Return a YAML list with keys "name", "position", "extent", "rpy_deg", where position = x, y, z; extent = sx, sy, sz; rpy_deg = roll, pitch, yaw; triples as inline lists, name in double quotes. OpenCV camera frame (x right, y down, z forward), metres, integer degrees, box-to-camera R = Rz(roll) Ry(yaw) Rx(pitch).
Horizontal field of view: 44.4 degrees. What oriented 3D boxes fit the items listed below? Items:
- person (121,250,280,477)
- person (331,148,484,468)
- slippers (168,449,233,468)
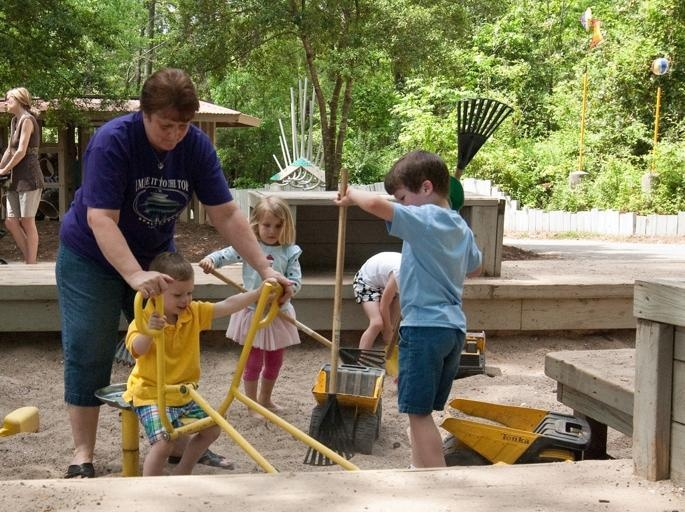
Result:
- name: "person"
  position: [-0.918, 0.663, 4.735]
  extent: [0.725, 1.354, 0.655]
  rpy_deg: [-4, 9, -33]
- name: "person"
  position: [0.389, 0.307, 4.744]
  extent: [0.620, 1.815, 0.650]
  rpy_deg: [2, 8, 10]
- name: "slippers"
  position: [-0.871, 1.255, 5.294]
  extent: [0.443, 0.159, 0.141]
  rpy_deg: [-1, -4, -3]
